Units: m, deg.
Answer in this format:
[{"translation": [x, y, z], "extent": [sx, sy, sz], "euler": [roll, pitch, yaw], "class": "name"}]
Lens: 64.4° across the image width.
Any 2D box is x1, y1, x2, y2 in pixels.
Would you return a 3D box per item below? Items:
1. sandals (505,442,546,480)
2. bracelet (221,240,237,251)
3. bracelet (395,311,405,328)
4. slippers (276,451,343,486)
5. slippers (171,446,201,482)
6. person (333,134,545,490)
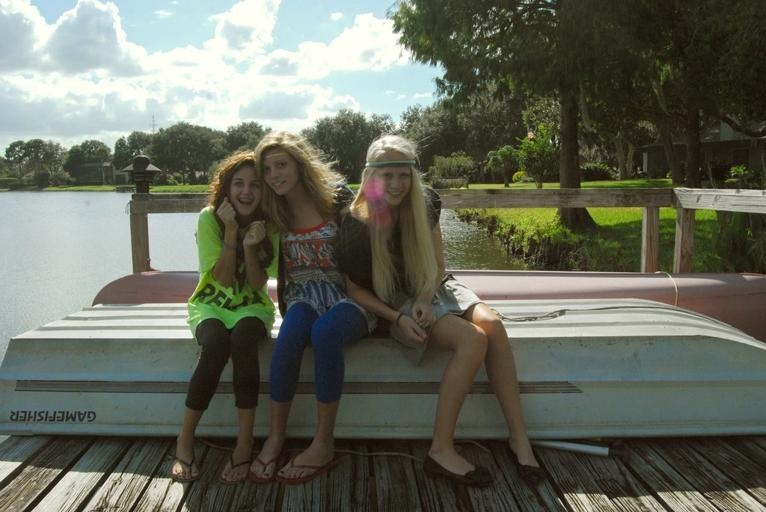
[{"translation": [0.975, 1.413, 4.162], "extent": [0.253, 0.177, 0.196], "euler": [0, 8, 14], "class": "sandals"}, {"translation": [-1.122, -0.077, 4.447], "extent": [0.073, 0.028, 0.065], "euler": [20, 15, -43], "class": "bracelet"}, {"translation": [0.119, 0.438, 4.330], "extent": [0.020, 0.083, 0.079], "euler": [11, -13, -20], "class": "bracelet"}, {"translation": [-0.507, 1.397, 4.138], "extent": [0.329, 0.101, 0.176], "euler": [-7, 12, -27], "class": "slippers"}, {"translation": [-1.360, 1.411, 4.178], "extent": [0.183, 0.208, 0.174], "euler": [-4, 8, -18], "class": "slippers"}, {"translation": [0.368, 0.287, 4.350], "extent": [1.321, 2.328, 0.680], "euler": [4, 9, 38], "class": "person"}]
